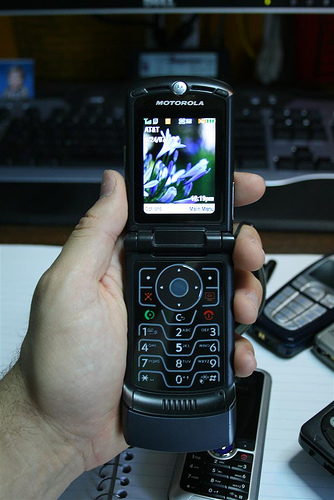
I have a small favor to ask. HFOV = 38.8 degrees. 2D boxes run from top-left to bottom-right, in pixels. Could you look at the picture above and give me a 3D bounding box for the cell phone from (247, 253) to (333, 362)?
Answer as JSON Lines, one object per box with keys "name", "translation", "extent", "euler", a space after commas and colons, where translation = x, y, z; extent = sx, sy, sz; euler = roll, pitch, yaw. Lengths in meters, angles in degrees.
{"name": "cell phone", "translation": [0.120, 0.052, 0.443], "extent": [0.111, 0.021, 0.046], "euler": [-31, 47, -35]}
